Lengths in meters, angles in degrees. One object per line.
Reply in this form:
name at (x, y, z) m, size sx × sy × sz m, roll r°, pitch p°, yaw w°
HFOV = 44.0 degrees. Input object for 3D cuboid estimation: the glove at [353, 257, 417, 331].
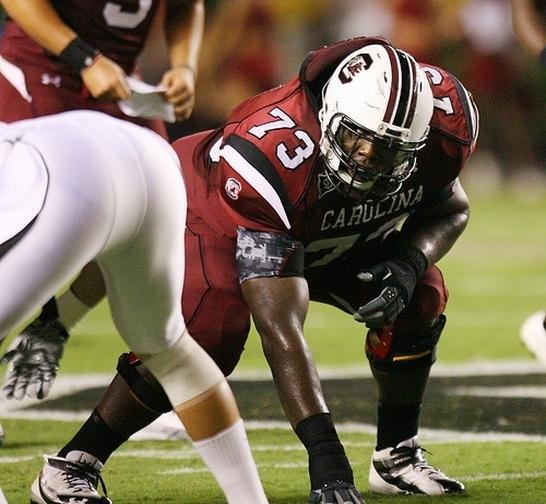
glove at (0.299, 0.107, 1.795) m, size 0.145 × 0.079 × 0.207 m, roll 26°, pitch 32°, yaw 0°

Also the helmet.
helmet at (0.259, -0.344, 1.753) m, size 0.293 × 0.425 × 0.197 m, roll -1°, pitch 6°, yaw 9°

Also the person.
person at (-0.059, 0.053, 1.839) m, size 1.106 × 1.277 × 1.102 m, roll 0°, pitch 6°, yaw 18°

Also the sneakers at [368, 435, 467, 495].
sneakers at (0.424, 0.610, 1.940) m, size 0.298 × 0.130 × 0.106 m, roll 1°, pitch -2°, yaw 13°
